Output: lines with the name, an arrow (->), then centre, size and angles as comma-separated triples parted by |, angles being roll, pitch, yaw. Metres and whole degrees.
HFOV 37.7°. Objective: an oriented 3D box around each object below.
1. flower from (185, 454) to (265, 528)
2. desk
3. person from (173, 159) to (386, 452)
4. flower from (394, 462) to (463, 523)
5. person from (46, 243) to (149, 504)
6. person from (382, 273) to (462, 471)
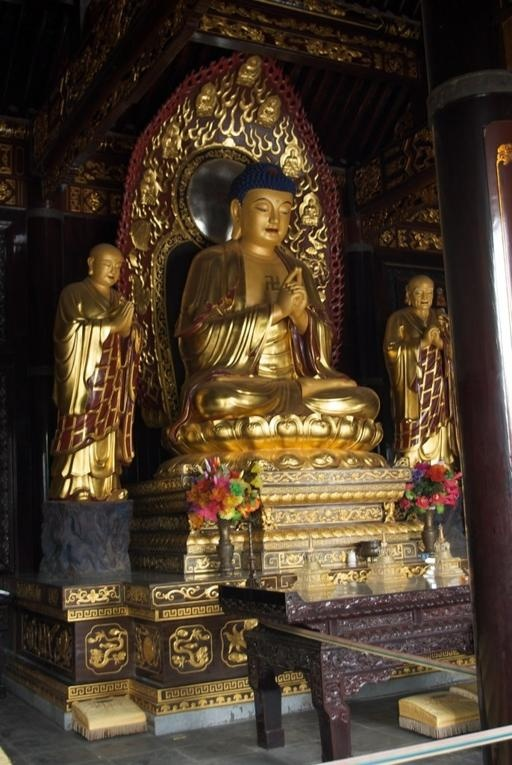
flower -> -0.105, 0.430, 2.845 | 0.286, 0.288, 0.281 | 13, -28, -30
desk -> 0.242, 0.834, 2.213 | 0.675, 0.520, 0.540 | 3, -8, -44
person -> 0.000, -0.447, 3.859 | 0.984, 1.641, 0.844 | 1, -7, -30
flower -> 0.822, 0.512, 3.478 | 0.292, 0.269, 0.276 | 3, -8, -24
person -> -0.777, -0.060, 3.588 | 0.445, 1.246, 0.277 | -1, -6, -17
person -> 0.963, -0.078, 4.406 | 0.382, 1.159, 0.341 | -4, -6, 11
